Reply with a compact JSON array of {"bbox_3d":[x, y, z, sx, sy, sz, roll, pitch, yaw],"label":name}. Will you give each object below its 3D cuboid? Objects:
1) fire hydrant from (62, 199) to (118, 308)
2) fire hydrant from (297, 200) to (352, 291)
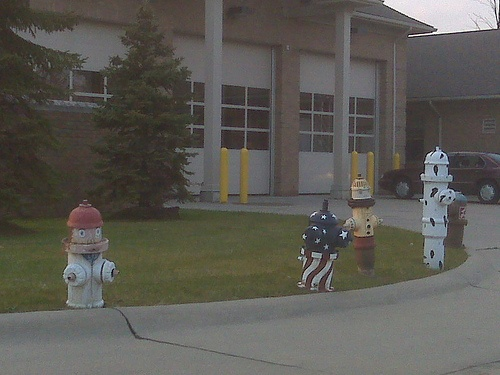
[{"bbox_3d":[-2.654,1.098,16.713,0.830,1.763,0.471,1,2,-12],"label":"fire hydrant"},{"bbox_3d":[1.275,1.012,17.622,0.864,1.589,0.324,1,2,3],"label":"fire hydrant"}]
